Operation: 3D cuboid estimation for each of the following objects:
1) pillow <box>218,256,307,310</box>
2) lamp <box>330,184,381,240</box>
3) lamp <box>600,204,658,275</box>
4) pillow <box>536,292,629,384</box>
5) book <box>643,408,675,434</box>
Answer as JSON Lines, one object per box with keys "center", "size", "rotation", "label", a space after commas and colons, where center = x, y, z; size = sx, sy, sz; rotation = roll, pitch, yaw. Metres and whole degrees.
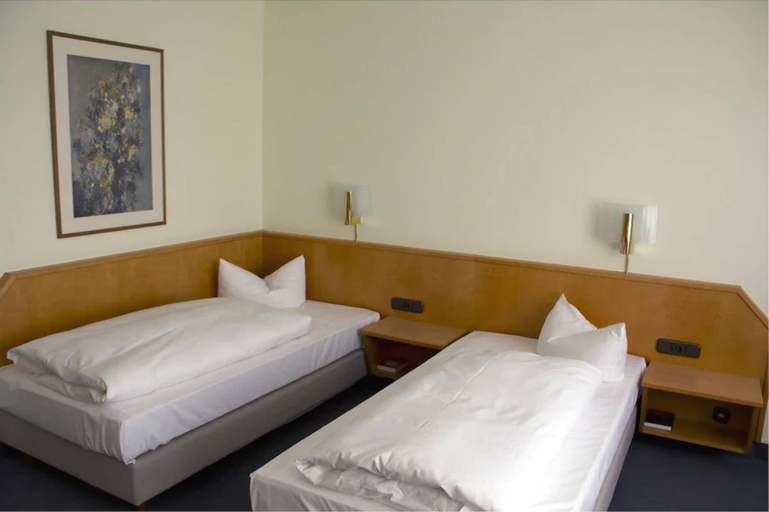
{"center": [-1.175, 0.261, 5.142], "size": [0.798, 0.495, 0.456], "rotation": [0, 9, -16], "label": "pillow"}
{"center": [-0.325, -0.419, 5.053], "size": [0.461, 0.559, 0.157], "rotation": [4, 10, 31], "label": "lamp"}
{"center": [1.888, -0.211, 4.058], "size": [0.396, 0.375, 0.096], "rotation": [3, 9, 20], "label": "lamp"}
{"center": [1.592, 0.586, 4.016], "size": [0.453, 0.496, 0.789], "rotation": [22, -2, -31], "label": "pillow"}
{"center": [2.050, 1.225, 3.914], "size": [0.205, 0.052, 0.212], "rotation": [4, 11, 27], "label": "book"}
